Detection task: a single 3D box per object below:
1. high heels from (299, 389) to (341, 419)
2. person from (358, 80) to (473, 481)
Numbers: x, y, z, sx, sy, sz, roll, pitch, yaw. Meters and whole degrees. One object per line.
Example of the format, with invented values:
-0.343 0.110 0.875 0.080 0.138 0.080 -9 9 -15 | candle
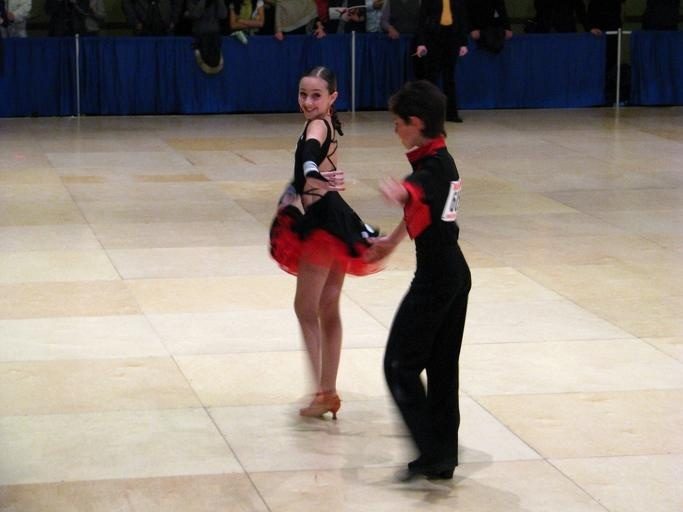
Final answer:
-0.113 0.908 4.994 0.358 0.193 0.111 3 15 9 | high heels
0.423 0.168 4.053 0.434 2.042 0.497 0 17 10 | person
